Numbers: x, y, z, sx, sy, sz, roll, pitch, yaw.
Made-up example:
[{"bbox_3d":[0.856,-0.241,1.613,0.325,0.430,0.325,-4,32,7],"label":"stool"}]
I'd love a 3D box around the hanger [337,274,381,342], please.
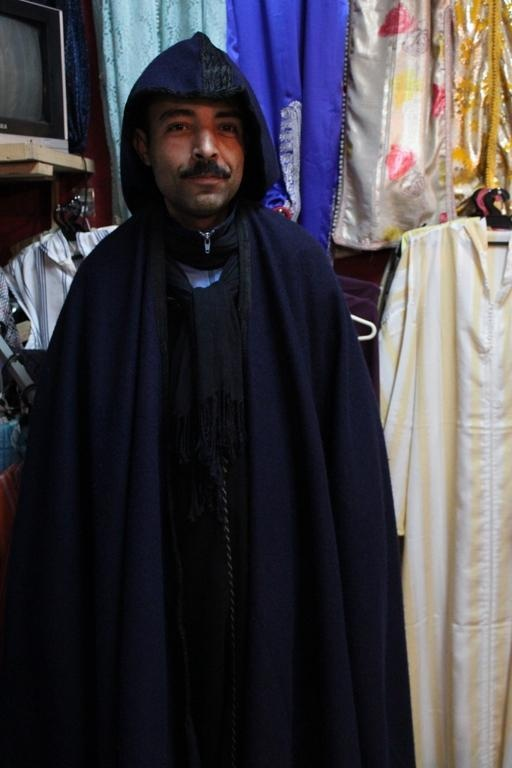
[{"bbox_3d":[0.211,-0.152,1.502,0.035,0.116,0.128,-11,30,-17],"label":"hanger"}]
